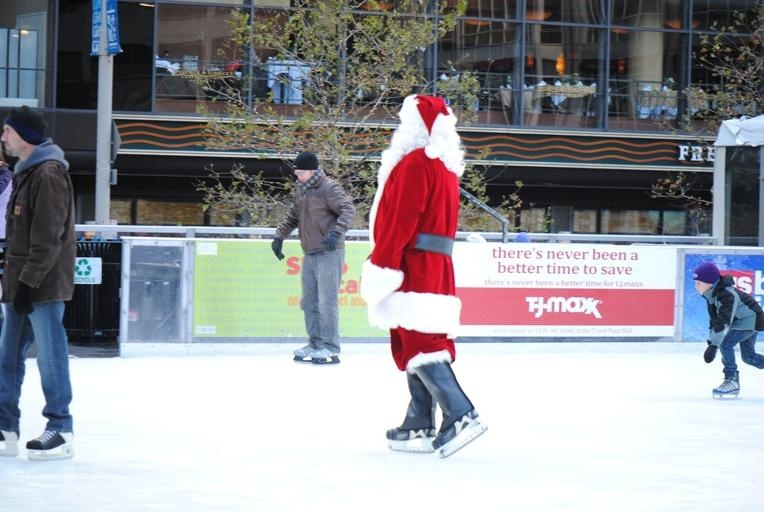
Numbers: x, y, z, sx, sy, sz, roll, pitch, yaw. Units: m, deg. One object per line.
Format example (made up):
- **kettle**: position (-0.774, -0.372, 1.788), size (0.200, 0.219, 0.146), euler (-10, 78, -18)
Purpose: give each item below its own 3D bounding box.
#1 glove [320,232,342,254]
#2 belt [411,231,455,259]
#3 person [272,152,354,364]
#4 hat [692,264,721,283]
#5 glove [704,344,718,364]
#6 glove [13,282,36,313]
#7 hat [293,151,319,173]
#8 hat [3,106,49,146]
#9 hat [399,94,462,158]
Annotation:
- **glove**: position (-0.730, -0.185, 21.499), size (0.113, 0.283, 0.233), euler (35, 56, 18)
- **belt**: position (0.676, -0.146, 18.699), size (0.497, 0.276, 0.143), euler (-1, 3, -30)
- **person**: position (-0.978, 0.021, 21.961), size (1.183, 3.143, 0.504), euler (3, 3, 34)
- **hat**: position (4.551, 0.245, 20.719), size (0.383, 0.237, 0.251), euler (15, -1, -8)
- **glove**: position (4.570, 1.348, 20.553), size (0.158, 0.281, 0.251), euler (2, 3, 11)
- **glove**: position (-4.434, 0.533, 18.374), size (0.272, 0.337, 0.101), euler (-9, 1, -17)
- **hat**: position (-1.122, -1.394, 21.886), size (0.334, 0.204, 0.326), euler (-7, 8, -41)
- **hat**: position (-4.482, -1.662, 18.801), size (0.627, 0.457, 0.451), euler (16, 9, 14)
- **hat**: position (0.488, -1.697, 19.104), size (0.782, 0.749, 0.928), euler (-1, 5, 14)
